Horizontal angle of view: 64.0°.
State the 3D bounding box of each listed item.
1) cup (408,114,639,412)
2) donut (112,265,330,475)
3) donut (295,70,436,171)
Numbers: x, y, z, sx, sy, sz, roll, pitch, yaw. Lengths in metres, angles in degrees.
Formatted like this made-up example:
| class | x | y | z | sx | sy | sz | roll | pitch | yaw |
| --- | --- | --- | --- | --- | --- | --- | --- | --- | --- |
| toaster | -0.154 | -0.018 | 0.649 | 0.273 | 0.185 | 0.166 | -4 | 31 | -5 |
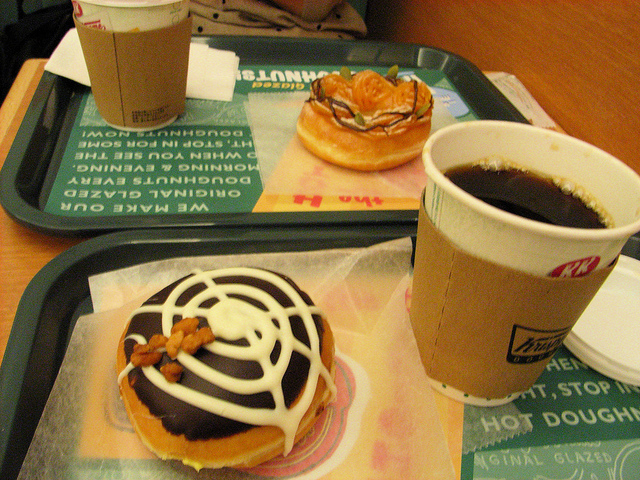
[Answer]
| class | x | y | z | sx | sy | sz | roll | pitch | yaw |
| --- | --- | --- | --- | --- | --- | --- | --- | --- | --- |
| cup | 0.297 | -0.014 | 1.122 | 0.456 | 0.563 | 0.515 | 5 | 37 | -2 |
| donut | -0.189 | 0.236 | 1.002 | 0.411 | 0.138 | 0.398 | 18 | 61 | -7 |
| donut | 0.143 | -0.365 | 1.614 | 0.345 | 0.157 | 0.402 | 1 | 37 | 1 |
